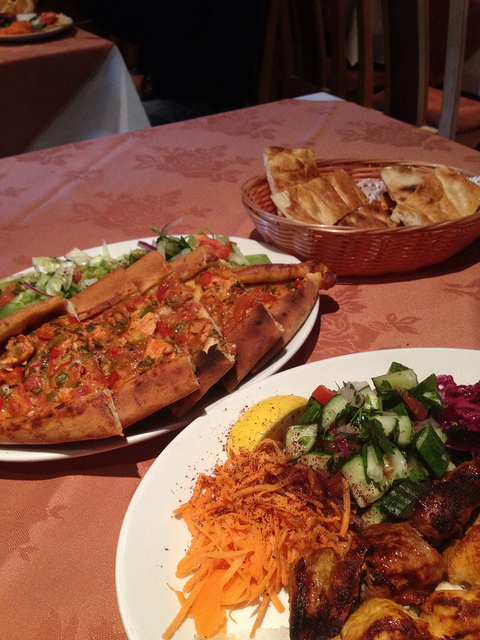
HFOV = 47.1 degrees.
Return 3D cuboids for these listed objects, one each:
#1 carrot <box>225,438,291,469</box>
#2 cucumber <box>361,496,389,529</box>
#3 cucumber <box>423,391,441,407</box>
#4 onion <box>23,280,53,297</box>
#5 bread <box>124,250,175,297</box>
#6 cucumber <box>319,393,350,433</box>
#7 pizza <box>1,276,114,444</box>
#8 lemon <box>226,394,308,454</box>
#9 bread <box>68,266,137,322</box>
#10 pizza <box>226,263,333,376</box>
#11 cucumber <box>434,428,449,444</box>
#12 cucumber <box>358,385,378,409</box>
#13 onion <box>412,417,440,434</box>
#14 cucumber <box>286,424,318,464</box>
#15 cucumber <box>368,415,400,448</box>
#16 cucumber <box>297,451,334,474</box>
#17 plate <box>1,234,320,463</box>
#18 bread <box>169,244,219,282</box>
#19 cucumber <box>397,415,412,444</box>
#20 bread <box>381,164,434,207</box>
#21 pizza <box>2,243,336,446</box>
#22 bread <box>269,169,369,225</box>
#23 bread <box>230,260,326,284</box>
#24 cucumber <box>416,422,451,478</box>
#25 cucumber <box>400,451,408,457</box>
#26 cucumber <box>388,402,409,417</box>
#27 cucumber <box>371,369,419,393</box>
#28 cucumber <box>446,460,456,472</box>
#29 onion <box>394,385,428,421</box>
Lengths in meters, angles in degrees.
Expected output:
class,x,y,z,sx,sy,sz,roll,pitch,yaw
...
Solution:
class,x,y,z,sx,sy,sz,roll,pitch,yaw
carrot,0.033,0.326,1.408,0.128,0.028,0.082,-16,7,-33
cucumber,0.334,0.476,1.356,0.084,0.020,0.043,-40,55,-21
cucumber,0.518,0.212,1.466,0.031,0.014,0.039,2,56,-7
onion,-0.747,-0.115,2.040,0.091,0.018,0.019,38,38,20
bread,-0.316,-0.170,1.922,0.165,0.052,0.154,-33,69,-14
cucumber,0.240,0.242,1.455,0.025,0.084,0.087,29,50,-4
pizza,-0.520,0.133,1.657,0.438,0.400,0.130,-14,-6,10
lemon,0.070,0.253,1.501,0.211,0.127,0.190,17,28,41
bread,-0.455,-0.081,1.856,0.274,0.062,0.148,-32,54,-8
pizza,0.203,-0.029,1.970,0.441,0.075,0.290,-35,34,-16
cucumber,0.515,0.294,1.407,0.031,0.008,0.030,3,48,9
cucumber,0.340,0.205,1.455,0.034,0.012,0.051,0,42,-3
onion,0.483,0.274,1.438,0.044,0.014,0.042,-30,26,-19
cucumber,0.165,0.314,1.451,0.109,0.023,0.168,-30,17,15
cucumber,0.366,0.282,1.404,0.069,0.042,0.075,-7,44,-5
cucumber,0.195,0.360,1.409,0.062,0.018,0.060,10,34,31
plate,-0.270,0.160,1.877,0.909,0.125,0.883,-16,27,6
bread,-0.164,-0.210,2.082,0.200,0.056,0.087,-26,64,-25
cucumber,0.413,0.277,1.381,0.026,0.055,0.053,1,58,21
bread,0.759,-0.638,2.548,0.246,0.065,0.254,-42,50,-18
pizza,-0.234,0.046,1.726,0.943,0.180,0.583,-20,36,-36
bread,0.372,-0.529,2.441,0.415,0.127,0.245,-15,62,-38
bread,0.147,-0.173,2.013,0.194,0.041,0.271,12,19,42
cucumber,0.489,0.314,1.392,0.065,0.167,0.107,-13,37,-5
cucumber,0.419,0.342,1.399,0.011,0.003,0.014,-2,27,-9
cucumber,0.420,0.233,1.436,0.029,0.012,0.037,-17,39,7
cucumber,0.427,0.165,1.499,0.081,0.019,0.073,-6,14,3
cucumber,0.529,0.370,1.382,0.025,0.022,0.023,-5,16,-3
onion,0.436,0.222,1.472,0.128,0.035,0.036,49,44,10
